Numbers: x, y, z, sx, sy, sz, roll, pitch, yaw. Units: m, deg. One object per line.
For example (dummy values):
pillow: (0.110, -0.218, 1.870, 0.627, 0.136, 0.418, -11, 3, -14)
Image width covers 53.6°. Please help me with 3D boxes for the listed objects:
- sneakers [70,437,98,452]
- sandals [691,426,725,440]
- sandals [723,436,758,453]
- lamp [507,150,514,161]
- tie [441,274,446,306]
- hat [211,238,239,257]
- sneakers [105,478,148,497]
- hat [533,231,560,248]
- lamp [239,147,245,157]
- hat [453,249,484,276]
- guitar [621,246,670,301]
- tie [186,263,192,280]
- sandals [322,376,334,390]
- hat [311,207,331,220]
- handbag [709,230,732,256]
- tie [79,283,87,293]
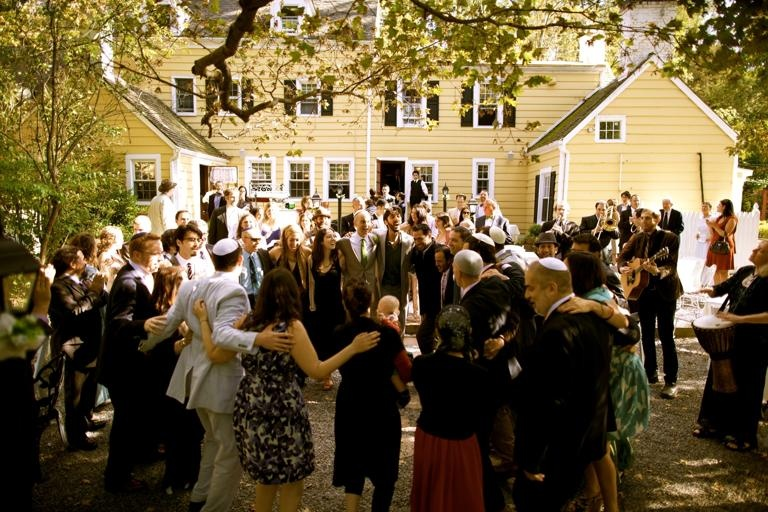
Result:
sneakers: (-4.346, 2.721, 11.022, 0.350, 0.257, 0.165, 4, 16, -19)
sandals: (4.867, 2.659, 11.410, 0.228, 0.059, 0.235, 8, 13, 41)
sandals: (5.199, 2.752, 11.110, 0.240, 0.066, 0.238, 13, 51, 25)
lamp: (4.376, -3.516, 26.318, 0.249, 0.353, 0.236, -1, 4, -4)
tie: (0.956, 0.502, 12.126, 0.081, 0.369, 0.258, 2, -6, -8)
hat: (-2.059, -0.115, 9.893, 0.344, 0.225, 0.196, 2, 2, -14)
sneakers: (-3.499, 3.101, 10.285, 0.461, 0.195, 0.236, 1, 12, -10)
hat: (2.825, -0.291, 13.174, 0.440, 0.227, 0.613, -2, -13, 10)
lamp: (-4.826, -3.554, 25.950, 0.210, 0.337, 0.221, 0, -5, 8)
hat: (1.152, 0.091, 10.460, 0.276, 0.395, 0.295, -17, -14, -16)
guitar: (4.398, 0.241, 13.095, 1.057, 0.604, 0.129, -12, 3, -43)
tie: (-2.931, 0.230, 11.425, 0.045, 0.219, 0.079, 5, -9, -45)
sandals: (-0.951, 2.144, 12.930, 0.141, 0.245, 0.061, 23, 1, -32)
hat: (-1.179, -0.803, 14.099, 0.457, 0.163, 0.481, 1, 2, 10)
handbag: (7.773, -0.316, 17.494, 0.211, 0.630, 0.452, -4, 11, -35)
tie: (-4.375, 0.457, 11.054, 0.022, 0.097, 0.096, -34, -7, -9)
